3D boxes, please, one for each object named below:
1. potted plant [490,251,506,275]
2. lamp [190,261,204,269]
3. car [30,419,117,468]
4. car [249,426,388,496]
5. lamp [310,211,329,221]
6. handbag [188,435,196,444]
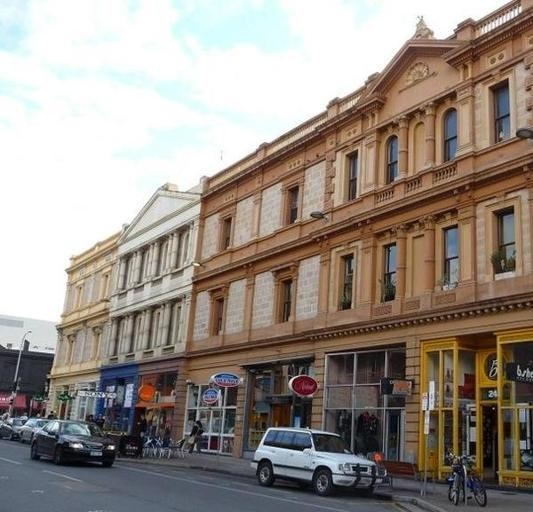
[{"bbox_3d":[7.445,0.198,16.878,0.235,0.737,0.457,16,-24,-29],"label":"potted plant"},{"bbox_3d":[-4.542,0.536,34.768,0.823,0.542,0.523,3,-20,0],"label":"lamp"},{"bbox_3d":[-7.009,6.678,18.976,3.873,1.457,2.001,-15,-26,42],"label":"car"},{"bbox_3d":[1.307,5.802,15.368,1.904,1.385,3.739,13,-20,-40],"label":"car"},{"bbox_3d":[2.577,-1.951,25.063,0.695,0.317,0.445,13,-9,-37],"label":"lamp"},{"bbox_3d":[-3.987,9.765,28.130,0.273,0.436,0.671,7,-19,-8],"label":"handbag"}]
